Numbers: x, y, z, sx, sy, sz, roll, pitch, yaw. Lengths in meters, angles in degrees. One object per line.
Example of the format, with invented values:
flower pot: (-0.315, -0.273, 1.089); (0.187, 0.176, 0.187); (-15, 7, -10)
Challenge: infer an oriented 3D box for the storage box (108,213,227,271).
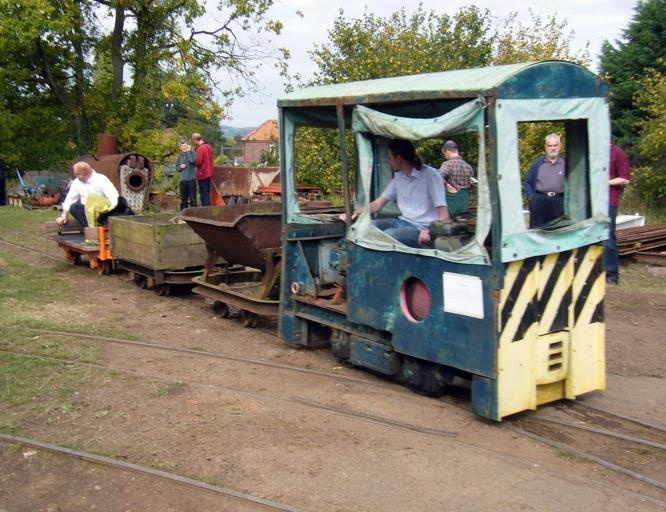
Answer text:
storage box: (-3.093, -0.238, 11.473); (1.430, 0.576, 1.803); (-1, 8, -36)

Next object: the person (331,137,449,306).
person: (0.753, -0.430, 7.430); (1.405, 1.770, 0.934); (-5, 13, -1)

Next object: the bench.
bench: (2.050, -0.223, 6.364); (0.982, 0.305, 0.911); (3, -1, -20)
